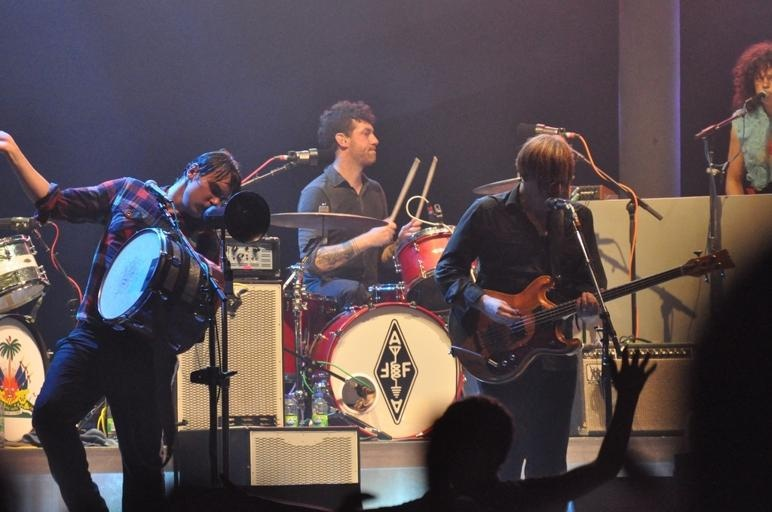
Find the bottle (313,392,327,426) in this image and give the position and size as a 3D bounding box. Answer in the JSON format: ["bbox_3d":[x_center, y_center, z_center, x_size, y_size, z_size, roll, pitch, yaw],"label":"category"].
[{"bbox_3d":[-0.548,1.252,7.834,0.148,0.290,0.470,-1,-1,-4],"label":"bottle"}]

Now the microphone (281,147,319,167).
[{"bbox_3d":[-0.710,-0.838,8.065,0.314,0.117,0.194,-1,-1,6],"label":"microphone"}]

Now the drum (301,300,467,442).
[{"bbox_3d":[0.002,0.971,7.652,1.158,1.109,0.441,-4,-3,-9],"label":"drum"}]

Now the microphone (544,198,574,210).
[{"bbox_3d":[1.187,-0.354,6.438,0.126,0.033,0.092,15,-9,3],"label":"microphone"}]
